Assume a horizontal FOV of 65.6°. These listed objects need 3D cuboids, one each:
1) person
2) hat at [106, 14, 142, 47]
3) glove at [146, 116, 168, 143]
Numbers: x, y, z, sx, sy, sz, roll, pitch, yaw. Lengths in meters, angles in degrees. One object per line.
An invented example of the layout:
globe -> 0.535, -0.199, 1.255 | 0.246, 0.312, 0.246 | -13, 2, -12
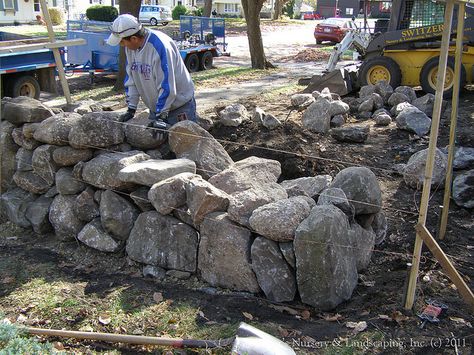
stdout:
person -> -1.064, -1.297, 4.729 | 1.011, 1.469, 0.840 | -5, 19, -9
hat -> -1.366, -1.793, 4.450 | 0.423, 0.343, 0.276 | -4, 19, -6
glove -> -0.968, -0.601, 4.619 | 0.272, 0.287, 0.134 | 24, 19, 30
